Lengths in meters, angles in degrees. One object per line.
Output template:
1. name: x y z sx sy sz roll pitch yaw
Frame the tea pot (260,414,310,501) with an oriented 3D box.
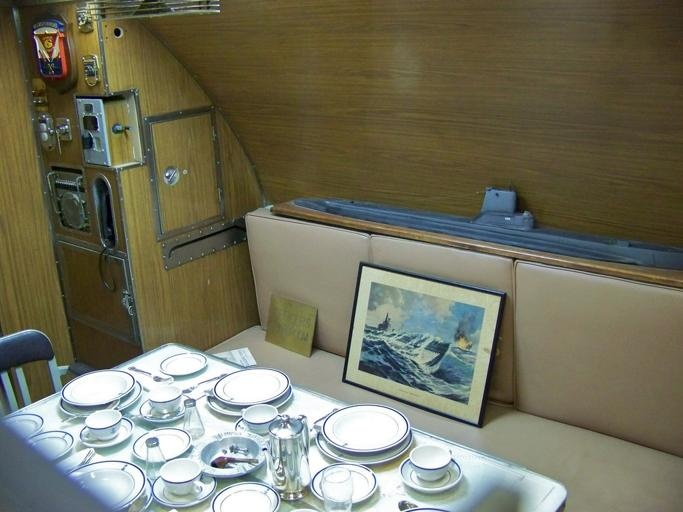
1. tea pot: -0.135 0.509 1.274 0.106 0.172 0.149 -1 26 -9

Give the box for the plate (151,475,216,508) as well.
1. plate: -0.408 0.605 1.269 0.167 0.026 0.095 0 26 -7

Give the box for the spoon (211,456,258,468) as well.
1. spoon: -0.298 0.562 1.355 0.091 0.036 0.043 -3 6 7

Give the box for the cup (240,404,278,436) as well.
1. cup: -0.251 0.490 1.495 0.107 0.061 0.109 2 15 0

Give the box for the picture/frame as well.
1. picture/frame: 0.409 0.407 2.211 0.604 0.518 0.042 15 5 29

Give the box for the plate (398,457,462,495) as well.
1. plate: 0.243 0.587 1.307 0.168 0.043 0.113 4 26 1

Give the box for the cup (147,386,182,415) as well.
1. cup: -0.561 0.456 1.570 0.087 0.051 0.088 2 13 -1

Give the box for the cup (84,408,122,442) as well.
1. cup: -0.707 0.497 1.467 0.085 0.056 0.090 1 17 0
